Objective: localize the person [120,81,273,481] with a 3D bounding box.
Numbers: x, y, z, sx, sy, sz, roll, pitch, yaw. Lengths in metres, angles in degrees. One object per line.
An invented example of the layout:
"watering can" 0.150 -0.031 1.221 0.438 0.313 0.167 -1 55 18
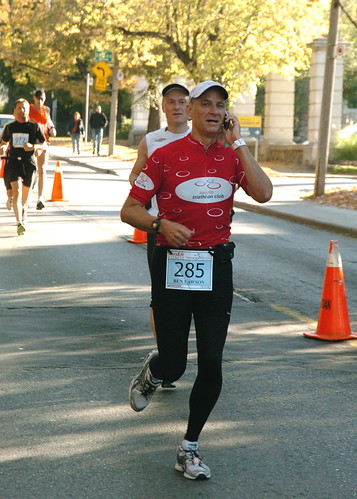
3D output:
"person" 0.058 0.097 2.695 0.479 1.725 0.655 -3 7 -45

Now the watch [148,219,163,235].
"watch" -0.092 -0.103 2.568 0.048 0.065 0.064 18 -8 1

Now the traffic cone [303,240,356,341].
"traffic cone" 1.406 0.367 5.177 0.478 0.894 0.281 3 5 11

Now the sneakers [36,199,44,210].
"sneakers" -3.207 -1.055 13.315 0.278 0.247 0.188 -1 -5 -6

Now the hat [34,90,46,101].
"hat" -3.141 -3.510 12.979 0.271 0.163 0.345 4 2 -24

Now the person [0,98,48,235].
"person" -2.796 -1.475 10.208 0.772 2.436 1.019 1 5 -11

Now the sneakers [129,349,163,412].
"sneakers" -0.208 0.773 3.134 0.154 0.124 0.367 -39 9 1

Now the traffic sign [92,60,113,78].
"traffic sign" -3.736 -8.959 28.256 0.477 0.861 1.279 -1 6 -36

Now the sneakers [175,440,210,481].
"sneakers" 0.053 0.908 2.454 0.094 0.109 0.210 1 1 -28
